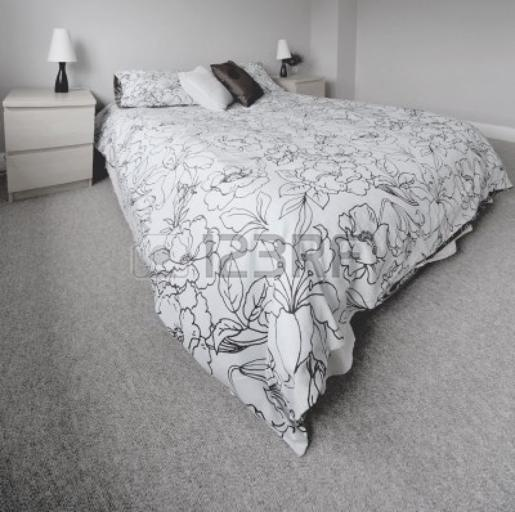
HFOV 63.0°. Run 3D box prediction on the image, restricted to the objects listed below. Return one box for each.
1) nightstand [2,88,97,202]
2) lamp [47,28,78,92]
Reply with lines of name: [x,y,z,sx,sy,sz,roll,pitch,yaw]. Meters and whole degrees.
nightstand: [-1.409,-0.758,2.866,0.640,0.651,0.399,-13,26,-24]
lamp: [-1.377,-1.383,2.984,0.189,0.416,0.320,-11,25,-20]
